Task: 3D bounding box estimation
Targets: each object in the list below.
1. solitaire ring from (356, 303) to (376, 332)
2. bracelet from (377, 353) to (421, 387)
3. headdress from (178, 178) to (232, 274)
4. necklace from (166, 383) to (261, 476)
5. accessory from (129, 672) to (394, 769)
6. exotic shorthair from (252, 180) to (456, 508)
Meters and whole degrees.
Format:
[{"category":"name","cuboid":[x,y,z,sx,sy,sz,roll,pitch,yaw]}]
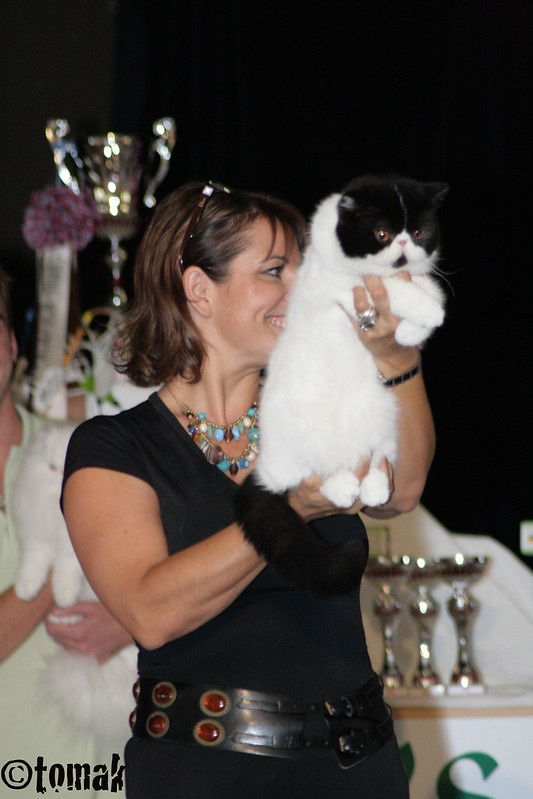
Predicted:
[{"category":"solitaire ring","cuboid":[0.153,-0.122,1.212,0.030,0.032,0.036,-1,-1,-3]},{"category":"bracelet","cuboid":[0.211,-0.046,1.262,0.049,0.051,0.014,-29,38,8]},{"category":"headdress","cuboid":[-0.118,-0.360,1.498,0.033,0.121,0.124,33,8,-7]},{"category":"necklace","cuboid":[-0.104,0.030,1.452,0.079,0.147,0.225,-29,-13,36]},{"category":"accessory","cuboid":[-0.001,0.468,1.161,0.215,0.058,0.194,7,-11,-25]},{"category":"exotic shorthair","cuboid":[0.139,-0.091,1.363,0.351,0.525,0.190,1,-12,13]}]
